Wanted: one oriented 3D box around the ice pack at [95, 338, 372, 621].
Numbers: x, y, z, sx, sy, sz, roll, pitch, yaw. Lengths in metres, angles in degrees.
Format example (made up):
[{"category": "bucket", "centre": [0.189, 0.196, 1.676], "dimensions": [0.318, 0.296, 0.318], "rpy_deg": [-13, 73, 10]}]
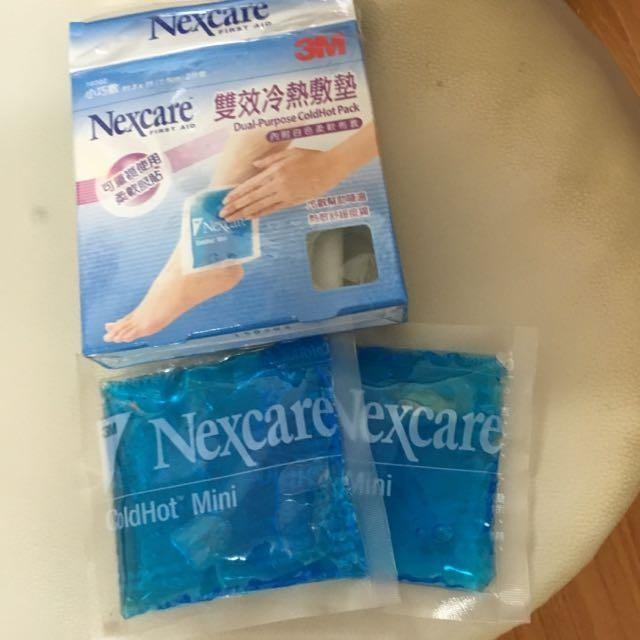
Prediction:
[{"category": "ice pack", "centre": [-0.094, 0.165, 0.769], "dimensions": [0.284, 0.065, 0.264], "rpy_deg": [-9, 69, 0]}]
